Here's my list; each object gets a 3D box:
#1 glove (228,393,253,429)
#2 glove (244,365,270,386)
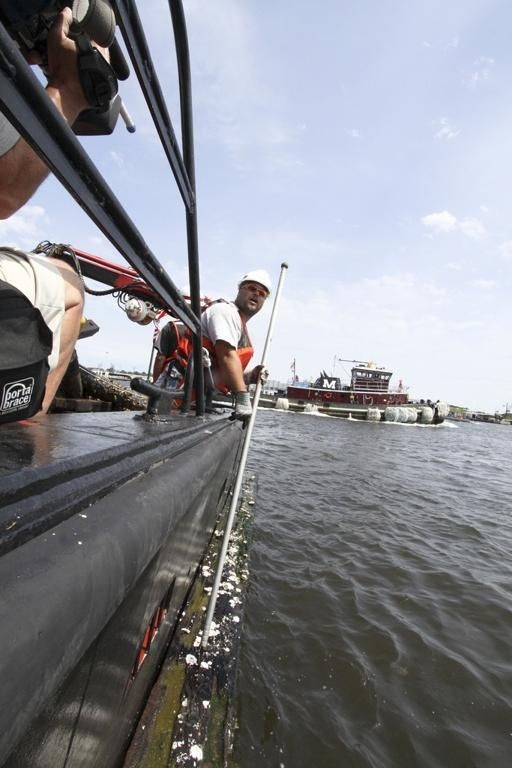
[{"bbox_3d":[-0.112,0.170,2.815,0.107,0.134,0.316,1,-20,-5],"label":"glove"},{"bbox_3d":[-0.001,-0.084,3.458,0.117,0.174,0.431,16,3,-13],"label":"glove"}]
